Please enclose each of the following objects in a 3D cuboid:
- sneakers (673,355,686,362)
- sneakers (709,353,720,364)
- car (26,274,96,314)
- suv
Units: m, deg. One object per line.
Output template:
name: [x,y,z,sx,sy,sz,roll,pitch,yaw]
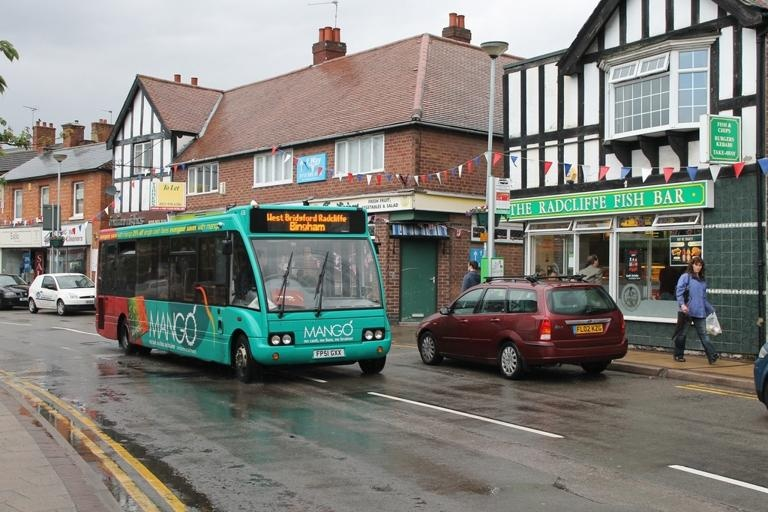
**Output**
sneakers: [7.064,2.466,17.766,0.137,0.144,0.339,0,-3,-15]
sneakers: [7.746,2.407,17.480,0.180,0.245,0.676,2,3,31]
car: [-14.964,1.785,34.748,1.849,1.885,4.126,-2,4,-43]
suv: [2.966,1.533,16.643,4.052,2.163,1.576,2,4,37]
